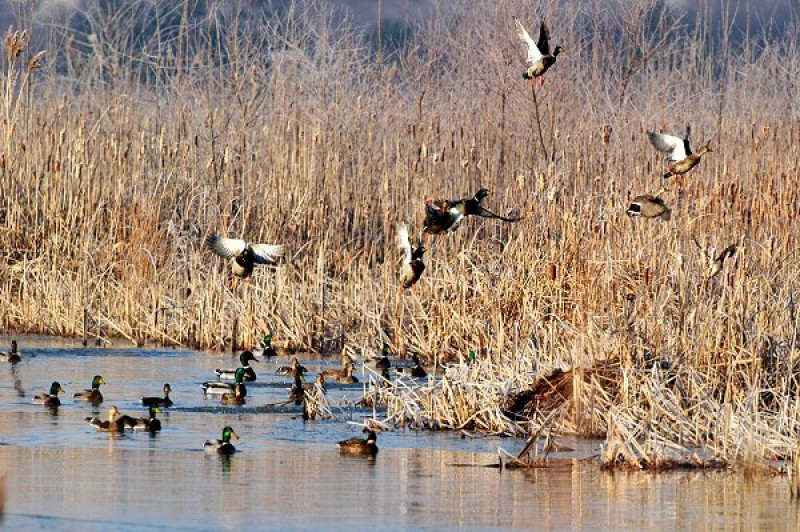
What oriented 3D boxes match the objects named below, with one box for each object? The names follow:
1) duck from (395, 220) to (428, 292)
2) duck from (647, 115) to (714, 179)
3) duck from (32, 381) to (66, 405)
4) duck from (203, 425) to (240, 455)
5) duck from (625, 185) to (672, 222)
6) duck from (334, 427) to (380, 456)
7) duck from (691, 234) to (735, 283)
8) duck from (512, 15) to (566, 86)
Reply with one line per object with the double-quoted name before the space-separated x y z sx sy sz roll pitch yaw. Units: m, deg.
"duck" 0.198 -0.134 24.093 0.610 0.908 0.938 -12 69 20
"duck" 4.470 -1.904 22.911 0.902 1.055 0.776 -15 74 30
"duck" -5.237 1.920 21.241 0.392 0.246 0.336 -3 90 19
"duck" -2.307 2.280 18.417 0.419 0.258 0.349 -8 81 41
"duck" 3.476 -0.839 19.725 0.585 0.518 0.460 1 96 -12
"duck" -0.530 2.298 18.542 0.462 0.271 0.400 12 102 31
"duck" 4.541 -0.112 20.623 0.524 0.311 0.648 8 118 29
"duck" 1.947 -3.089 20.380 0.716 0.750 0.931 8 96 51
